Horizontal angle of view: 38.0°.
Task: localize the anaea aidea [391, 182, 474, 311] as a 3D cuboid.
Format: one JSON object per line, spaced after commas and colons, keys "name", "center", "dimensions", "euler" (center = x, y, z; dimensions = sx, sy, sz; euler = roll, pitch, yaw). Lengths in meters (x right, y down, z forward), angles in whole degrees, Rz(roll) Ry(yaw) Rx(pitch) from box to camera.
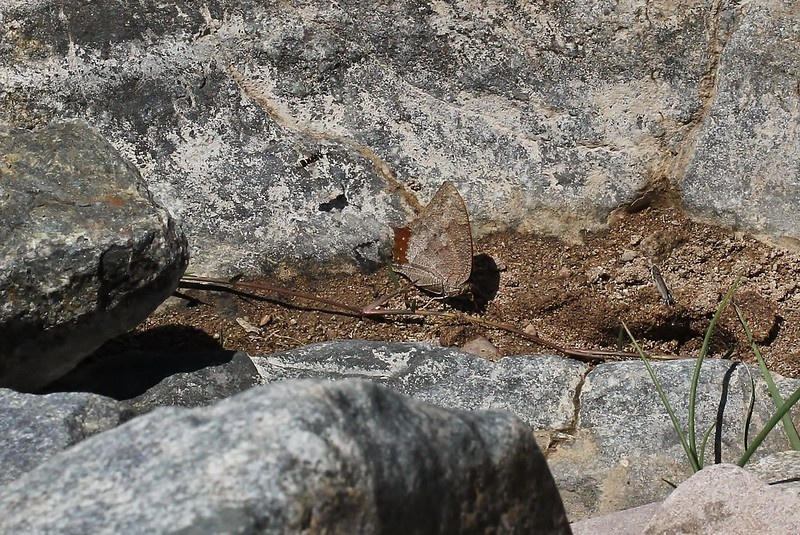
{"name": "anaea aidea", "center": [0.161, -0.154, 6.061], "dimensions": [0.465, 0.634, 0.152], "euler": [10, 27, 21]}
